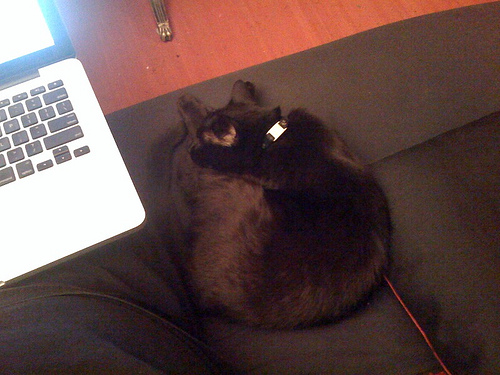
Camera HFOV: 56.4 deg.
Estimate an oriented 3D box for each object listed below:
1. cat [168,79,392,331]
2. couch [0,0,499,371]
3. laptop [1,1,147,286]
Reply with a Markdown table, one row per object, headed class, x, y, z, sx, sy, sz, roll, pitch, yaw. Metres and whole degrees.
| class | x | y | z | sx | sy | sz | roll | pitch | yaw |
| --- | --- | --- | --- | --- | --- | --- | --- | --- | --- |
| cat | 0.053 | 0.028 | 0.951 | 0.430 | 0.276 | 0.436 | -1 | 48 | -11 |
| couch | 0.217 | 0.092 | 1.475 | 1.240 | 0.302 | 0.688 | -17 | 79 | 7 |
| laptop | -0.371 | -0.091 | 0.876 | 0.270 | 0.364 | 0.341 | -11 | 50 | -20 |
